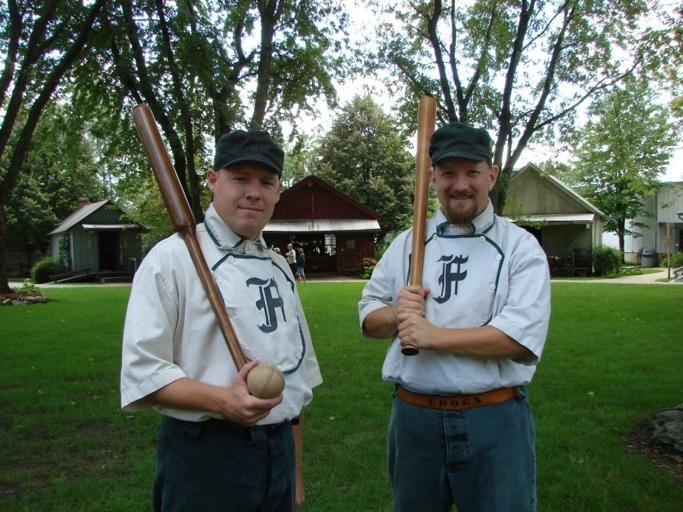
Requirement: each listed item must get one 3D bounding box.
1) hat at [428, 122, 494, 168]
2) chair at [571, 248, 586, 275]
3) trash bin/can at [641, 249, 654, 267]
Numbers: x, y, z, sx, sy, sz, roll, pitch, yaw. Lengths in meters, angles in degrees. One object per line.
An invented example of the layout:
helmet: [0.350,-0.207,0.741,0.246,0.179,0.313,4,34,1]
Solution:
hat: [0.796,-0.721,3.529,0.432,0.319,0.611,0,0,12]
chair: [10.895,0.255,24.008,0.720,1.340,1.445,0,-2,25]
trash bin/can: [19.588,0.111,33.556,0.799,1.068,0.467,1,-2,-10]
